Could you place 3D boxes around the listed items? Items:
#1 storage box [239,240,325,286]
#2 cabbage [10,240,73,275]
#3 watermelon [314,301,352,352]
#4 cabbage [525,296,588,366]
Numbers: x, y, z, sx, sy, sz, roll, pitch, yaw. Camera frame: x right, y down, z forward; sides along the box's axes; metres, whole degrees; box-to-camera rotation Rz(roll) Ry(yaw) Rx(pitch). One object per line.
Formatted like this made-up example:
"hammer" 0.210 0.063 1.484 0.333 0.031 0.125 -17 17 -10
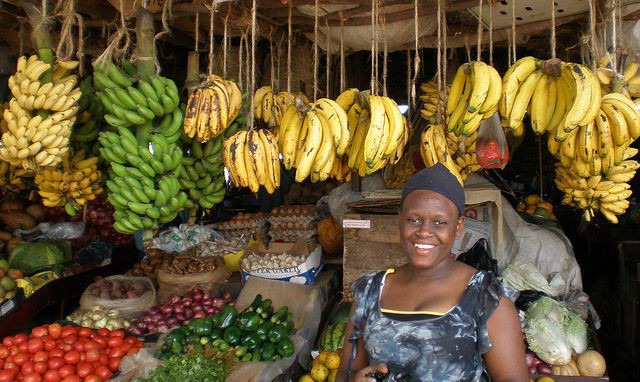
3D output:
"storage box" -0.421 0.814 5.404 0.680 0.301 0.519 0 8 14
"cabbage" -3.338 0.789 5.680 0.593 0.371 0.184 0 -2 -10
"watermelon" 0.157 1.402 4.853 0.412 0.519 0.467 1 0 -1
"cabbage" 2.167 1.289 4.388 0.526 0.289 0.595 26 42 14
